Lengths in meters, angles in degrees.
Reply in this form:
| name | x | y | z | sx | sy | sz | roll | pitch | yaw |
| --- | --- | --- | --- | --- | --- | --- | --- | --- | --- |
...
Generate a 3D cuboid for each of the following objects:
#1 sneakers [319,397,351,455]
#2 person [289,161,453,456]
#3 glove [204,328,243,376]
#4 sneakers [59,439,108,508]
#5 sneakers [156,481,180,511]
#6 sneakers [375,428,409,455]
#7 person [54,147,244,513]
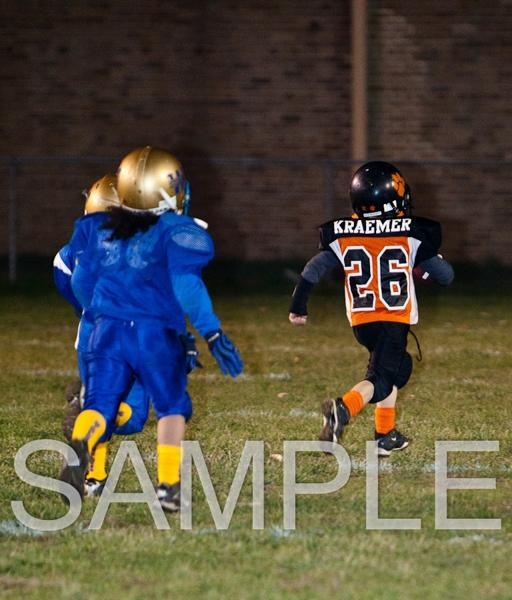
| name | x | y | z | sx | sy | sz | roll | pitch | yaw |
| --- | --- | --- | --- | --- | --- | --- | --- | --- | --- |
| sneakers | 0.326 | 0.520 | 4.383 | 0.124 | 0.203 | 0.092 | 15 | -8 | -41 |
| person | 0.528 | 0.053 | 4.609 | 0.748 | 1.341 | 0.753 | 0 | 10 | 1 |
| glove | -0.143 | 0.197 | 3.910 | 0.118 | 0.200 | 0.065 | -47 | 33 | -22 |
| sneakers | -0.638 | 0.637 | 3.806 | 0.108 | 0.248 | 0.120 | 4 | -2 | -3 |
| sneakers | -0.334 | 0.748 | 3.905 | 0.058 | 0.054 | 0.148 | 2 | -1 | 8 |
| sneakers | 0.623 | 0.663 | 4.763 | 0.213 | 0.075 | 0.071 | -5 | 8 | -42 |
| person | -0.435 | 0.104 | 3.976 | 0.692 | 1.390 | 0.584 | -2 | 11 | -11 |
